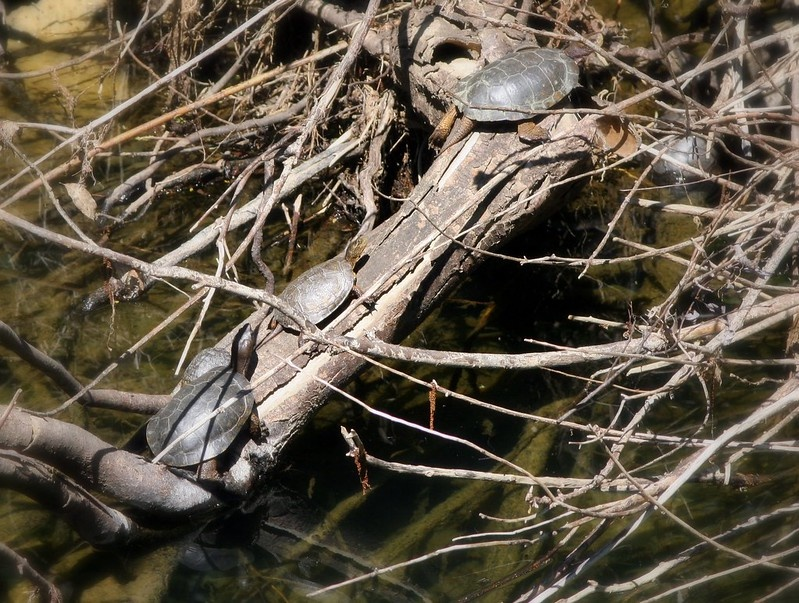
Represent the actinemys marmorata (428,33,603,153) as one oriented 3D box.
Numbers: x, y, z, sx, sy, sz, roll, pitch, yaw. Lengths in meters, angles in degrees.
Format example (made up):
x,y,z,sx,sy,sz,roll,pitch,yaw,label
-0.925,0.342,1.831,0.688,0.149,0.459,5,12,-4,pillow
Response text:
x,y,z,sx,sy,sz,roll,pitch,yaw,label
0.943,-1.714,7.530,1.213,0.358,0.797,-40,57,-18,actinemys marmorata
